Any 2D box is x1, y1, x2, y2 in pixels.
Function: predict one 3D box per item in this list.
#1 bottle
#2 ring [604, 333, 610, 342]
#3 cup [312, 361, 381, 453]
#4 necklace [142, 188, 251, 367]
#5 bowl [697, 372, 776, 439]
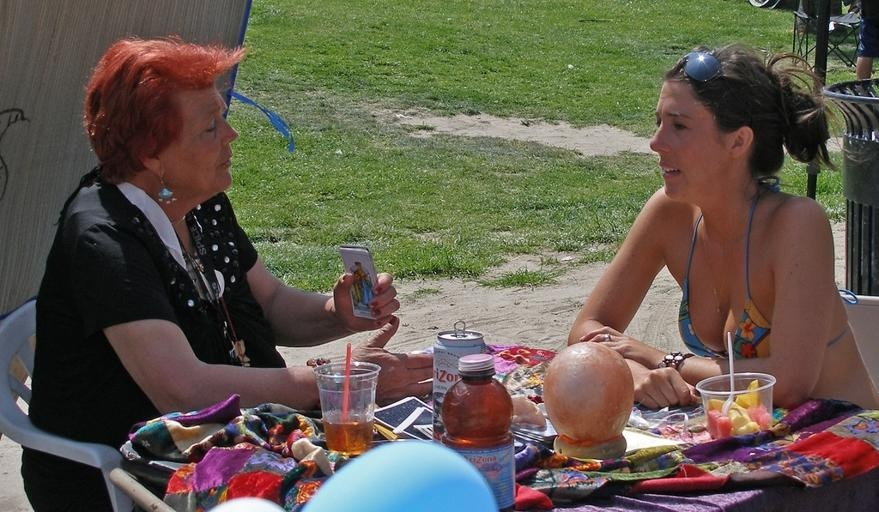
[{"bbox_3d":[0.168,0.742,3.887,0.313,0.636,0.200,1,10,2],"label":"bottle"},{"bbox_3d":[0.944,0.457,5.150,0.041,0.039,0.033,-2,-2,19],"label":"ring"},{"bbox_3d":[-0.405,0.671,4.150,0.373,0.400,0.347,-2,-7,0],"label":"cup"},{"bbox_3d":[-1.231,0.062,5.159,0.298,0.314,1.115,21,17,-28],"label":"necklace"},{"bbox_3d":[1.483,0.674,4.396,0.238,0.161,0.222,9,-19,3],"label":"bowl"}]
